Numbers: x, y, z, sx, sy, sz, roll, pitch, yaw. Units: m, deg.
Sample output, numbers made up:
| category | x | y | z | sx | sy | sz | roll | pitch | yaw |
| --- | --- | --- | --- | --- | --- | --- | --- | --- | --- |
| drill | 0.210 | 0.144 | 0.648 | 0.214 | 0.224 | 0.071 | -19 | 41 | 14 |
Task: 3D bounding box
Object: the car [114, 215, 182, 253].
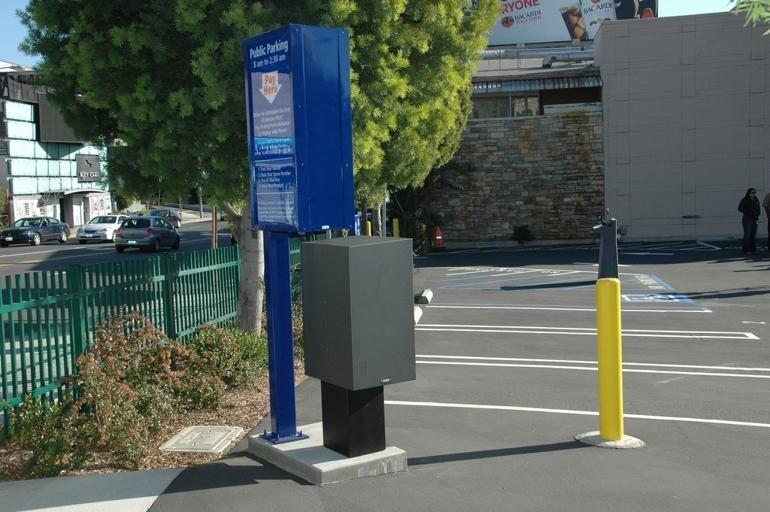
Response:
| category | x | y | z | sx | sy | sz | roll | pitch | yaw |
| --- | --- | --- | --- | --- | --- | --- | --- | --- | --- |
| car | -10.448 | -0.931 | 36.309 | 1.168 | 1.731 | 2.898 | 4 | 10 | 27 |
